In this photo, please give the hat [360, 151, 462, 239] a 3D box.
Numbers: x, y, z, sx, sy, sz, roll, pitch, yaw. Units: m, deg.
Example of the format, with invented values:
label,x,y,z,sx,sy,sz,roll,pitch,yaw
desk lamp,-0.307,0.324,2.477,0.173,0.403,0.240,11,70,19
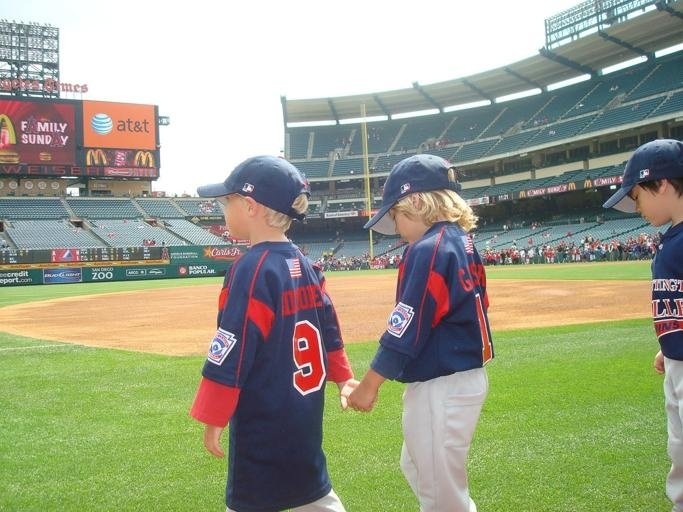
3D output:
label,x,y,z,sx,sy,sz,roll,pitch,yaw
hat,0.513,-0.513,4.728,0.747,0.424,0.527,-21,0,12
